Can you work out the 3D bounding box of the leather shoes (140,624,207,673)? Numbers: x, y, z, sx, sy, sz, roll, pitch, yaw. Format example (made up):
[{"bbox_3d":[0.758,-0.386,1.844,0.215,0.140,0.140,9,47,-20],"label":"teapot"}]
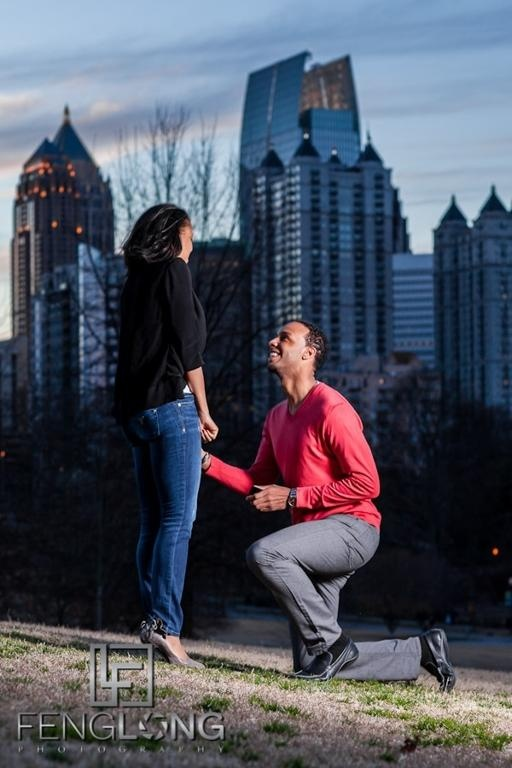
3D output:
[{"bbox_3d":[-0.490,1.541,11.140,0.399,0.282,0.194,5,10,-5],"label":"leather shoes"}]

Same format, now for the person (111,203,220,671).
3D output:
[{"bbox_3d":[-0.532,0.294,11.220,0.496,2.633,0.805,-1,11,-27],"label":"person"}]

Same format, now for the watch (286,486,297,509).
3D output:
[{"bbox_3d":[0.202,0.685,11.379,0.060,0.117,0.092,3,-12,15],"label":"watch"}]
